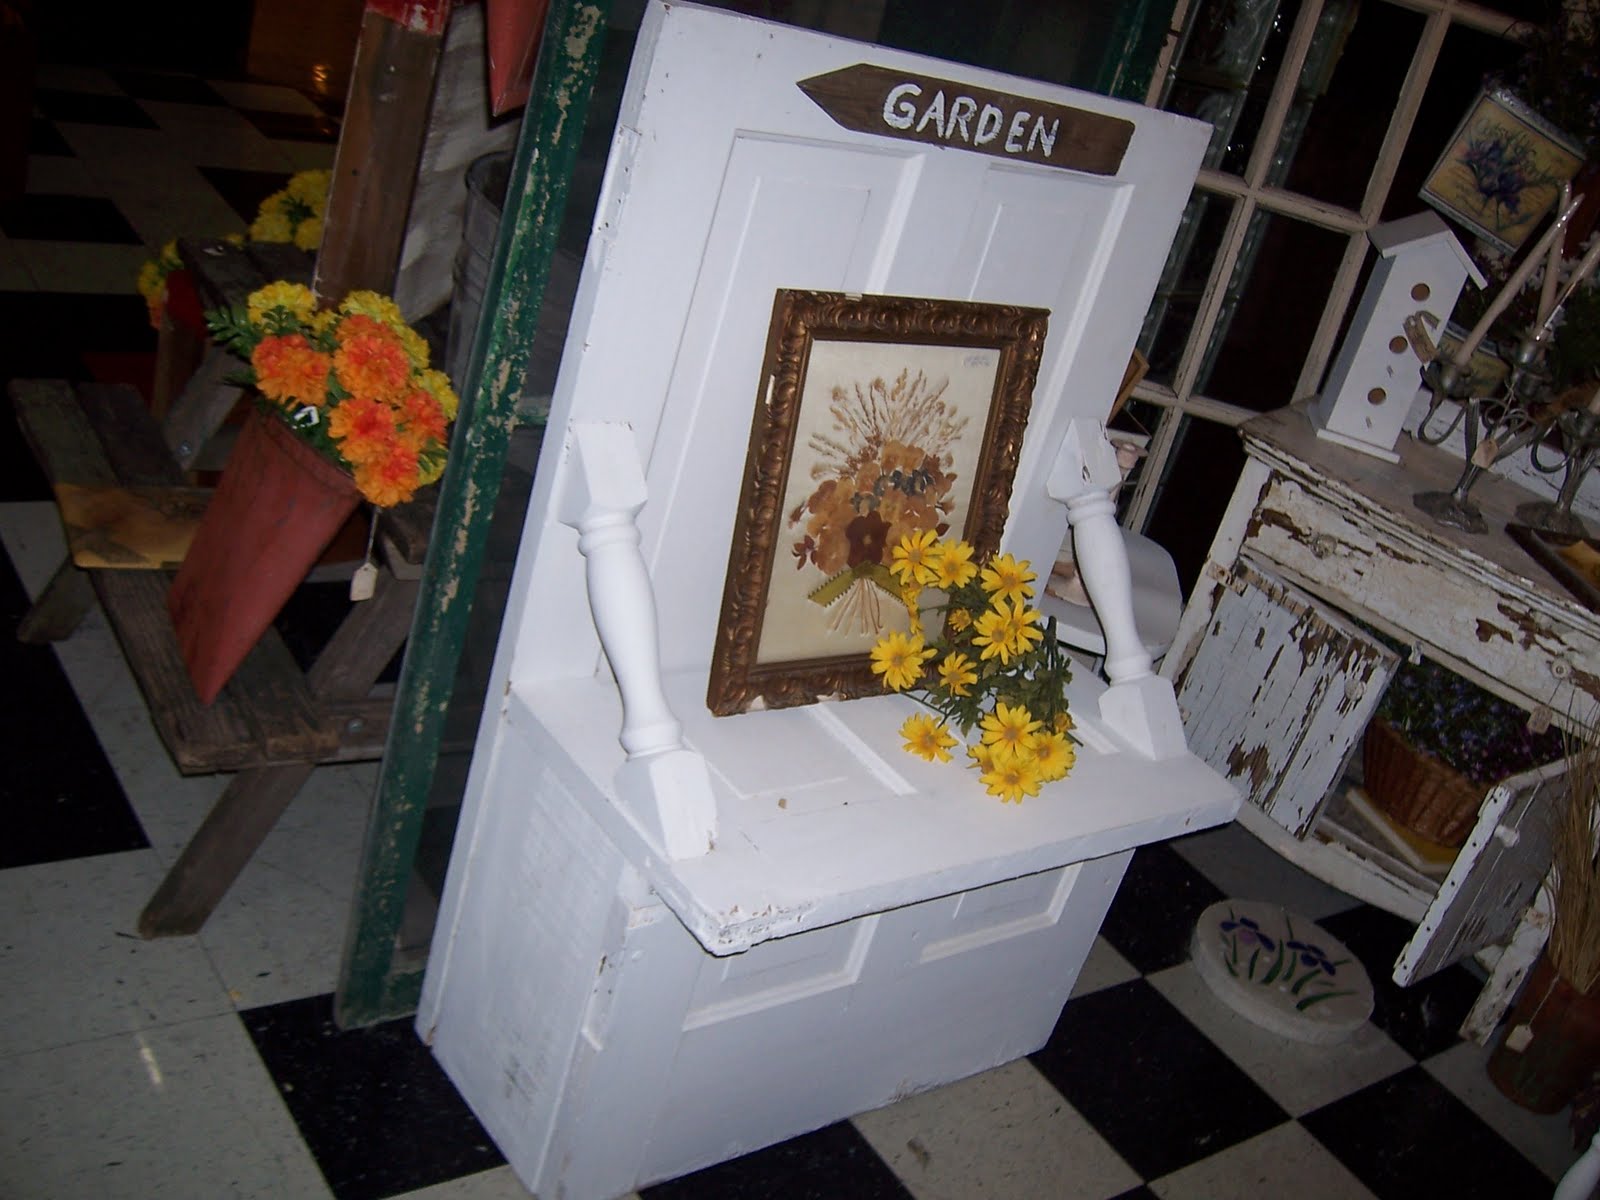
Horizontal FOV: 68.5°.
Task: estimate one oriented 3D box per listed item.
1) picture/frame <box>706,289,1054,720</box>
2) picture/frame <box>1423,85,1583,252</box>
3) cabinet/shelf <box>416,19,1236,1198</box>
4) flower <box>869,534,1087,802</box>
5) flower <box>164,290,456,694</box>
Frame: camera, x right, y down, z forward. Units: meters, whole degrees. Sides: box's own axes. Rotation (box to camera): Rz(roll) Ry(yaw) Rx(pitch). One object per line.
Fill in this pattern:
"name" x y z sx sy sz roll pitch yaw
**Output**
"picture/frame" 0.090 -0.126 1.554 0.562 0.640 0.028 4 19 -39
"picture/frame" 1.379 -0.850 2.324 0.287 0.276 0.069 33 23 -4
"cabinet/shelf" 0.076 0.105 1.552 0.976 1.475 0.509 -5 30 -32
"flower" 0.247 0.051 1.640 0.117 0.307 0.185 57 41 -5
"flower" -0.710 -0.158 1.692 0.407 0.561 0.292 10 26 -4
